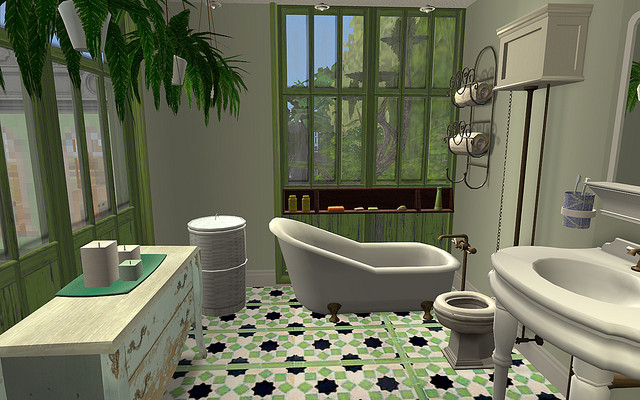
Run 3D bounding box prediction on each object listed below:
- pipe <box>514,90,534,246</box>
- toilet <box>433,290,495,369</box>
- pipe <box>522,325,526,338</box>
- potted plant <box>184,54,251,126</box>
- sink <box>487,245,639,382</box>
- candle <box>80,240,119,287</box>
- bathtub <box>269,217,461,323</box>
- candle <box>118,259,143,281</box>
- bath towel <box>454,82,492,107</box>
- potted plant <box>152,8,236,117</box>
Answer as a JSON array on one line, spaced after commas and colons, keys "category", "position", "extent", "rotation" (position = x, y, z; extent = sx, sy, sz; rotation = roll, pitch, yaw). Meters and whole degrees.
[{"category": "pipe", "position": [1.626, -0.227, 3.169], "extent": [0.067, 1.279, 0.460], "rotation": [7, 15, 27]}, {"category": "toilet", "position": [1.185, 1.030, 3.395], "extent": [0.579, 0.494, 0.629], "rotation": [-3, 6, -4]}, {"category": "pipe", "position": [1.662, 1.087, 3.234], "extent": [0.019, 0.088, 0.130], "rotation": [7, 14, 29]}, {"category": "potted plant", "position": [-0.641, -0.692, 2.387], "extent": [0.479, 0.352, 0.468], "rotation": [-1, 1, -7]}, {"category": "sink", "position": [1.480, 0.574, 2.233], "extent": [0.796, 0.411, 0.860], "rotation": [3, 8, -2]}, {"category": "candle", "position": [-1.419, 0.403, 2.558], "extent": [0.221, 0.274, 0.171], "rotation": [0, 13, 2]}, {"category": "bathtub", "position": [0.438, 0.634, 4.054], "extent": [1.876, 0.810, 0.934], "rotation": [-1, 7, -5]}, {"category": "candle", "position": [-1.233, 0.456, 2.575], "extent": [0.130, 0.127, 0.129], "rotation": [-1, -2, -4]}, {"category": "bath towel", "position": [1.443, -1.024, 3.794], "extent": [0.168, 0.203, 0.362], "rotation": [-7, 13, -28]}, {"category": "potted plant", "position": [-0.602, -0.732, 2.246], "extent": [0.488, 0.279, 0.396], "rotation": [43, 54, 15]}]
